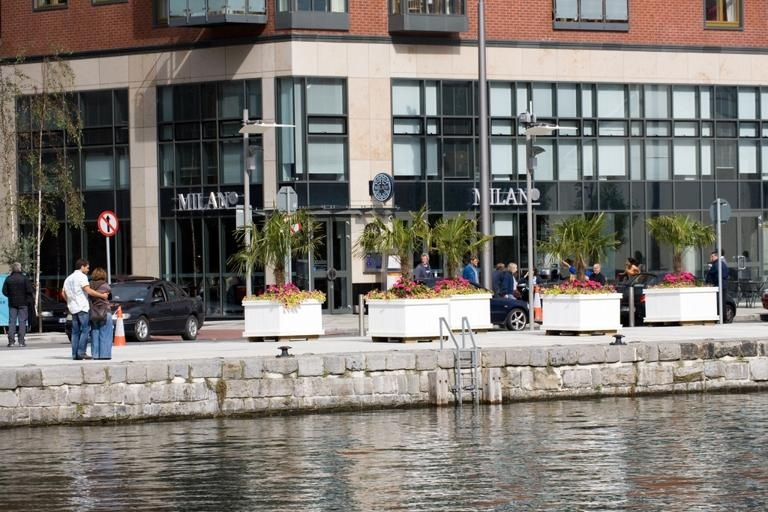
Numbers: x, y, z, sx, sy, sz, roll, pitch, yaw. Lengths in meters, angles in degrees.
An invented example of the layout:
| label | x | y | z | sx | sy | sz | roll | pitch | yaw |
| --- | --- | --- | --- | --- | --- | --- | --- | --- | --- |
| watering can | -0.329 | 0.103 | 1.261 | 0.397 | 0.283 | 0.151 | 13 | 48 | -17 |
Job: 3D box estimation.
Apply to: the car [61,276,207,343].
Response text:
| label | x | y | z | sx | sy | sz | roll | pitch | yaw |
| --- | --- | --- | --- | --- | --- | --- | --- | --- | --- |
| car | -7.607 | 1.685 | 55.878 | 2.593 | 1.817 | 4.429 | -1 | -1 | 26 |

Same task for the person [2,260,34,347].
| label | x | y | z | sx | sy | sz | roll | pitch | yaw |
| --- | --- | --- | --- | --- | --- | --- | --- | --- | --- |
| person | -10.937 | 1.458 | 54.156 | 0.716 | 2.579 | 0.856 | 0 | 0 | -8 |

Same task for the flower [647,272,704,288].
| label | x | y | z | sx | sy | sz | roll | pitch | yaw |
| --- | --- | --- | --- | --- | --- | --- | --- | --- | --- |
| flower | 8.754 | 0.766 | 53.922 | 1.233 | 0.443 | 0.834 | -2 | 0 | 17 |

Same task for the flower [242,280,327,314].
| label | x | y | z | sx | sy | sz | roll | pitch | yaw |
| --- | --- | --- | --- | --- | --- | --- | --- | --- | --- |
| flower | -2.804 | 1.205 | 51.705 | 2.113 | 0.703 | 0.777 | -2 | 0 | -1 |

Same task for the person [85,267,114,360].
| label | x | y | z | sx | sy | sz | roll | pitch | yaw |
| --- | --- | --- | --- | --- | --- | --- | --- | --- | --- |
| person | -7.566 | 1.616 | 47.996 | 0.597 | 2.558 | 0.657 | -1 | 2 | 12 |

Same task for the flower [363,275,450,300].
| label | x | y | z | sx | sy | sz | roll | pitch | yaw |
| --- | --- | --- | --- | --- | --- | --- | --- | --- | --- |
| flower | 0.615 | 0.940 | 50.366 | 2.061 | 0.600 | 0.923 | -2 | 0 | 6 |

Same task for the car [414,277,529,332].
| label | x | y | z | sx | sy | sz | roll | pitch | yaw |
| --- | --- | --- | --- | --- | --- | --- | --- | --- | --- |
| car | 3.098 | 1.644 | 55.125 | 3.202 | 1.420 | 1.665 | -2 | 1 | -19 |

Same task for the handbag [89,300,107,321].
| label | x | y | z | sx | sy | sz | roll | pitch | yaw |
| --- | --- | --- | --- | --- | --- | --- | --- | --- | --- |
| handbag | -7.563 | 1.497 | 47.926 | 0.417 | 0.558 | 0.296 | 3 | -27 | -12 |

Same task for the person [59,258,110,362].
| label | x | y | z | sx | sy | sz | roll | pitch | yaw |
| --- | --- | --- | --- | --- | --- | --- | --- | --- | --- |
| person | -7.987 | 1.501 | 48.236 | 1.199 | 2.647 | 0.747 | -4 | -5 | 34 |

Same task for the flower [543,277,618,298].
| label | x | y | z | sx | sy | sz | roll | pitch | yaw |
| --- | --- | --- | --- | --- | --- | --- | --- | --- | --- |
| flower | 5.501 | 0.935 | 51.516 | 1.974 | 0.478 | 0.975 | -2 | 0 | 5 |
